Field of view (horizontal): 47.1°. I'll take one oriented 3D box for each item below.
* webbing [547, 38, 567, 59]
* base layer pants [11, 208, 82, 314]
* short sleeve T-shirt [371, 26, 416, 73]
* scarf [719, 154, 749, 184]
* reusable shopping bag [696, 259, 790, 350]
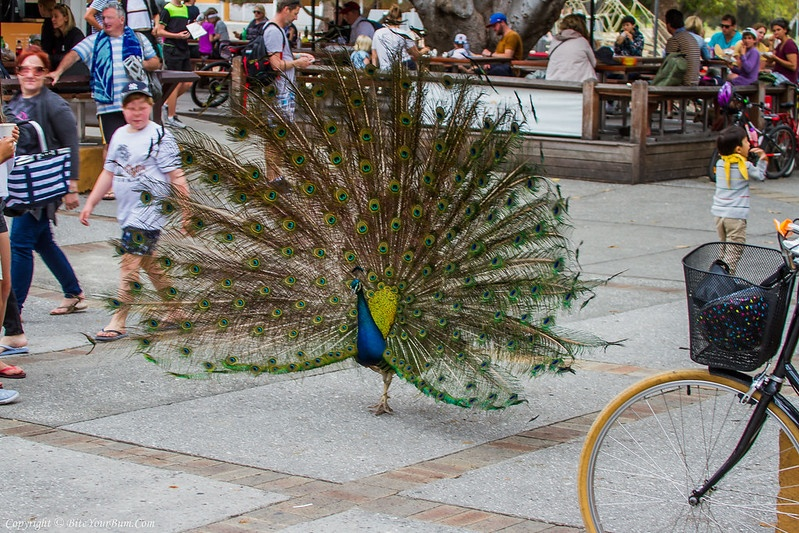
[{"bbox_3d":[2.829,-3.840,16.469,0.063,0.411,0.102,41,-8,-28],"label":"webbing"},{"bbox_3d":[-3.317,0.002,8.574,0.335,1.062,0.721,5,16,22],"label":"base layer pants"},{"bbox_3d":[-0.058,-1.566,6.761,0.403,0.344,0.217,2,6,13],"label":"short sleeve T-shirt"},{"bbox_3d":[3.487,-1.014,9.499,0.256,0.216,0.242,-7,-6,-8],"label":"scarf"},{"bbox_3d":[1.635,0.200,4.625,0.480,0.368,0.374,8,26,31],"label":"reusable shopping bag"}]
